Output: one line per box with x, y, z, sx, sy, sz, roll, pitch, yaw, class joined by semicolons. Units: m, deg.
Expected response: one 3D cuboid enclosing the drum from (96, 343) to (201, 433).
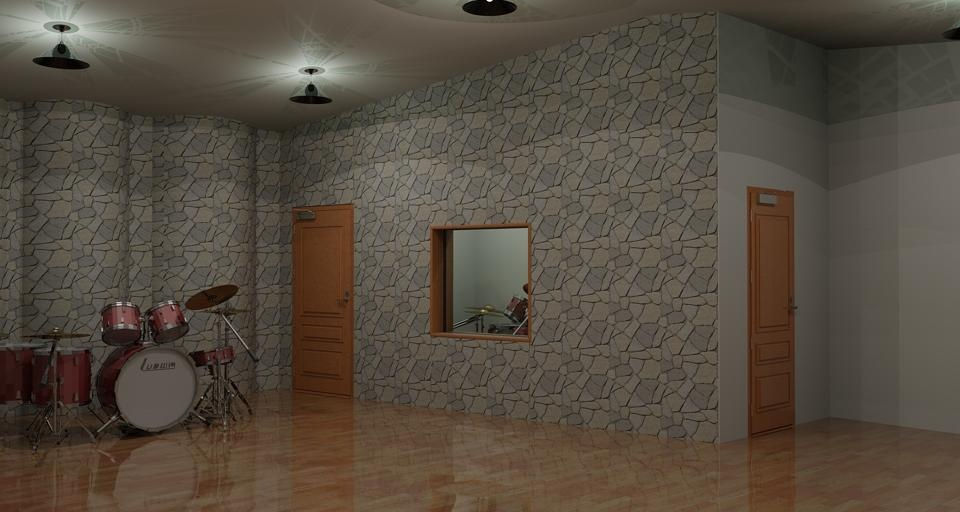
-5.412;1.883;10.175;2.179;1.518;1.365;1;-2;-28;drum

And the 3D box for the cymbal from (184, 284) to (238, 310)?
-4.400;0.679;9.880;0.739;0.423;0.468;-3;8;-19;cymbal

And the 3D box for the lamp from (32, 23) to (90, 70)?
-6.212;-3.166;8.958;0.725;0.482;0.739;30;28;32;lamp

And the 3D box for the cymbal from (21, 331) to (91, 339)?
-7.088;1.309;9.960;0.408;0.076;0.384;-2;0;12;cymbal

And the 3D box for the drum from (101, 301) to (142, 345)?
-5.621;1.086;9.429;0.559;0.746;0.496;-5;9;-28;drum

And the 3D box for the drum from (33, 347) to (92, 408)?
-6.655;1.882;9.738;0.969;0.853;0.979;-1;-3;31;drum

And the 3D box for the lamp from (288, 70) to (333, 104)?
-2.878;-2.975;10.364;0.645;0.419;0.601;3;0;34;lamp

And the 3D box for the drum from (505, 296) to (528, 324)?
0.647;0.932;10.447;0.391;0.449;0.211;1;8;14;drum

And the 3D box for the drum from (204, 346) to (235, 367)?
-4.366;1.706;10.105;0.429;0.312;0.220;-5;8;-29;drum

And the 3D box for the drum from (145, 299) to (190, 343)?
-5.023;1.062;9.651;0.476;0.699;0.555;-8;10;-44;drum
